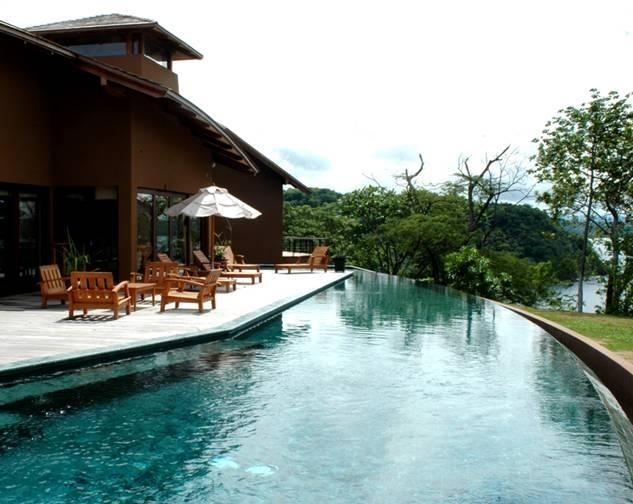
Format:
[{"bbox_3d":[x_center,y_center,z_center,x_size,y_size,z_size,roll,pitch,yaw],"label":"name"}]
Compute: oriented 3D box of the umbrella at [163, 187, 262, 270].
[{"bbox_3d":[-4.026,-0.882,17.486,4.824,3.438,4.308,0,3,-3],"label":"umbrella"}]
